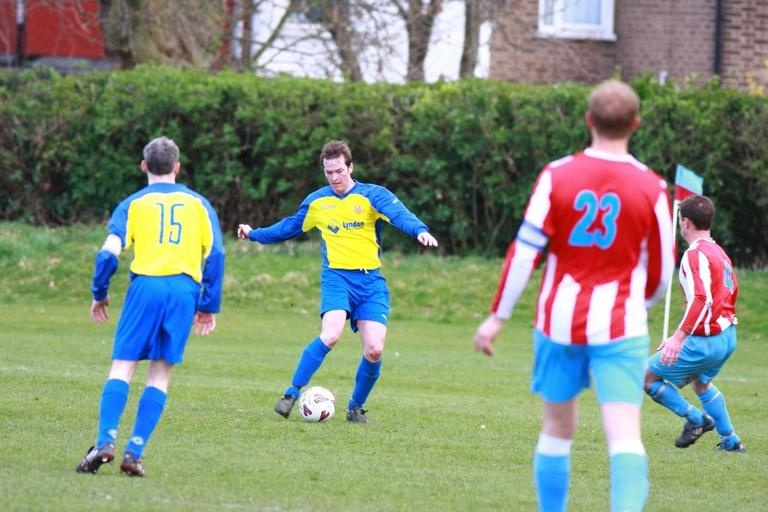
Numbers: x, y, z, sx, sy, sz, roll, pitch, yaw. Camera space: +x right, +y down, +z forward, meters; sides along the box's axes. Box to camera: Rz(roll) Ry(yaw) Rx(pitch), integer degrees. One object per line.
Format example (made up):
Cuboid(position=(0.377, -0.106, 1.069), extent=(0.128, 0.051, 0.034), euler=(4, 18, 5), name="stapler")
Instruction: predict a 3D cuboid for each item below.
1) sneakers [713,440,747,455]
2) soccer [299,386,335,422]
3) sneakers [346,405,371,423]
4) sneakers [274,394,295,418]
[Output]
Cuboid(position=(5.009, 2.758, 20.276), extent=(0.435, 0.212, 0.168), euler=(3, 4, 12), name="sneakers")
Cuboid(position=(-1.001, 2.155, 20.833), extent=(0.482, 0.501, 0.497), euler=(5, 8, -13), name="soccer")
Cuboid(position=(-0.376, 2.323, 20.709), extent=(0.300, 0.135, 0.183), euler=(4, 3, -30), name="sneakers")
Cuboid(position=(-1.423, 2.195, 20.704), extent=(0.201, 0.172, 0.457), euler=(-19, 16, -3), name="sneakers")
